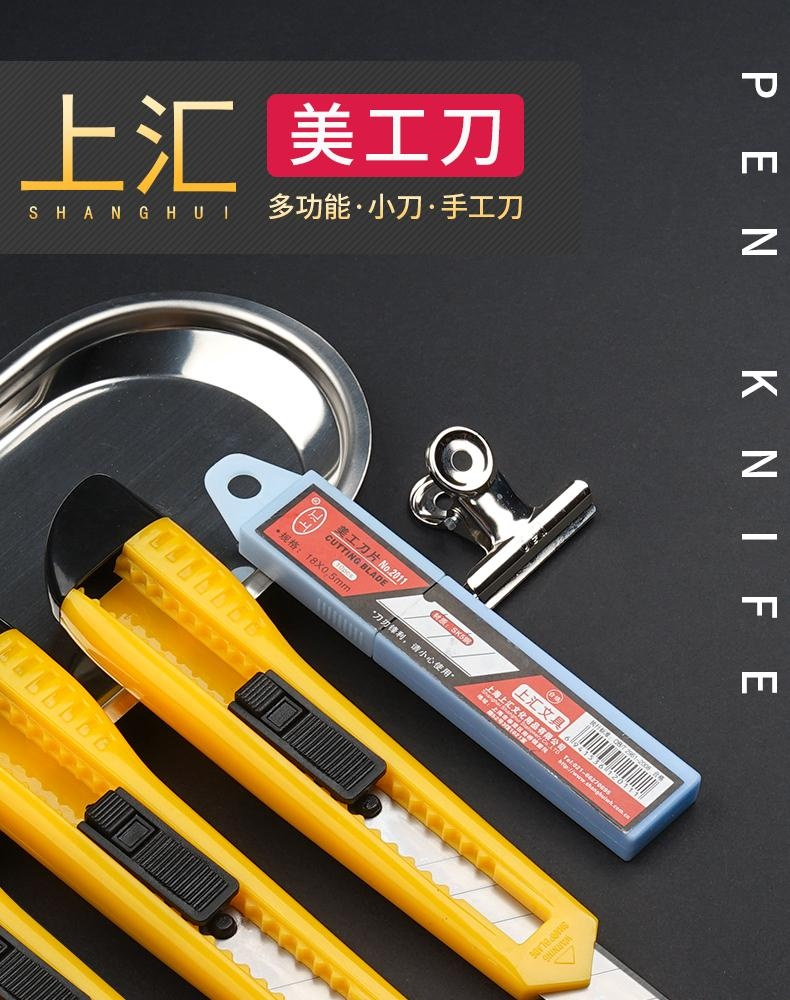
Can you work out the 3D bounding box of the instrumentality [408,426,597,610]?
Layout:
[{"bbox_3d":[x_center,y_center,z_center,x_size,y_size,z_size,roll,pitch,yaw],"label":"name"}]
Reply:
[{"bbox_3d":[0.080,0.027,1.146,0.170,0.173,0.086,41,-11,9],"label":"instrumentality"}]
